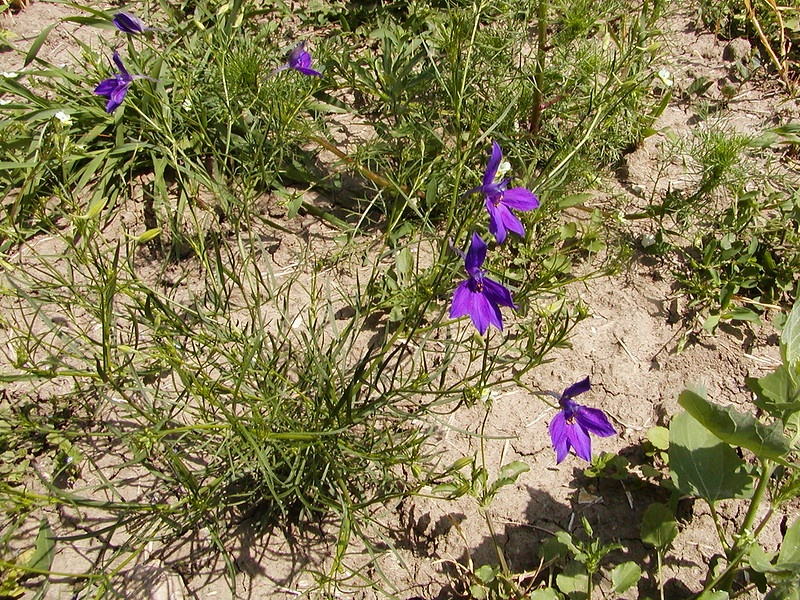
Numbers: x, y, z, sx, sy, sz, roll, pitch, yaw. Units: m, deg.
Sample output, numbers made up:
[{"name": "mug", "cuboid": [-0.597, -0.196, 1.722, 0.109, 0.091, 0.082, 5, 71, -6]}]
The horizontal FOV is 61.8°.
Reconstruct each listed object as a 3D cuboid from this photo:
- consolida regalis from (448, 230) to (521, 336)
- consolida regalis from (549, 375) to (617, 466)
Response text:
[{"name": "consolida regalis", "cuboid": [0.272, -0.071, 2.159, 0.189, 0.333, 0.116, 0, 8, -3]}, {"name": "consolida regalis", "cuboid": [0.637, 0.451, 2.391, 0.205, 0.368, 0.184, -18, 48, -21]}]
